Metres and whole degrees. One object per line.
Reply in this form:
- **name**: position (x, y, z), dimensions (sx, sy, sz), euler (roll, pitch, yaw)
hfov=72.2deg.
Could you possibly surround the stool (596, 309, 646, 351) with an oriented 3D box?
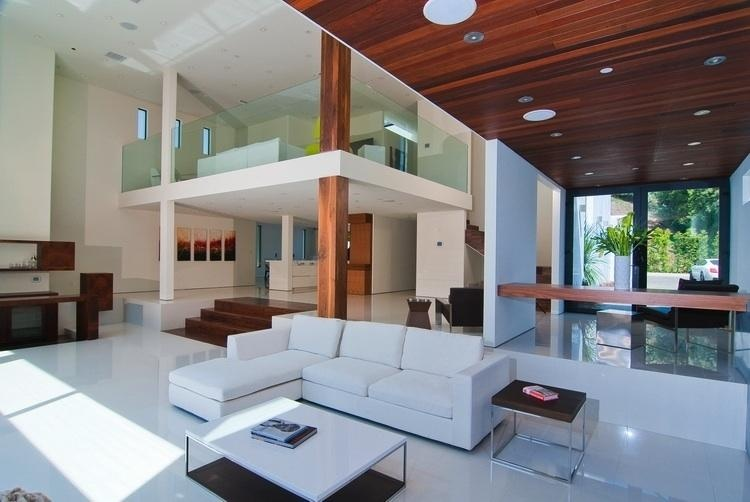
- **stool**: position (3.732, 1.179, 7.883), dimensions (0.611, 0.578, 0.630), euler (2, 3, 43)

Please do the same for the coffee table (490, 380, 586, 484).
- **coffee table**: position (1.999, 1.935, 6.277), dimensions (1.228, 0.985, 0.994), euler (2, 8, 36)

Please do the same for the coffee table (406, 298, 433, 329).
- **coffee table**: position (0.760, 1.063, 8.812), dimensions (0.506, 0.475, 0.495), euler (2, 3, 12)

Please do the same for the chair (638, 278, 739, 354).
- **chair**: position (4.943, 0.977, 7.879), dimensions (0.954, 1.167, 1.296), euler (1, 0, 5)
